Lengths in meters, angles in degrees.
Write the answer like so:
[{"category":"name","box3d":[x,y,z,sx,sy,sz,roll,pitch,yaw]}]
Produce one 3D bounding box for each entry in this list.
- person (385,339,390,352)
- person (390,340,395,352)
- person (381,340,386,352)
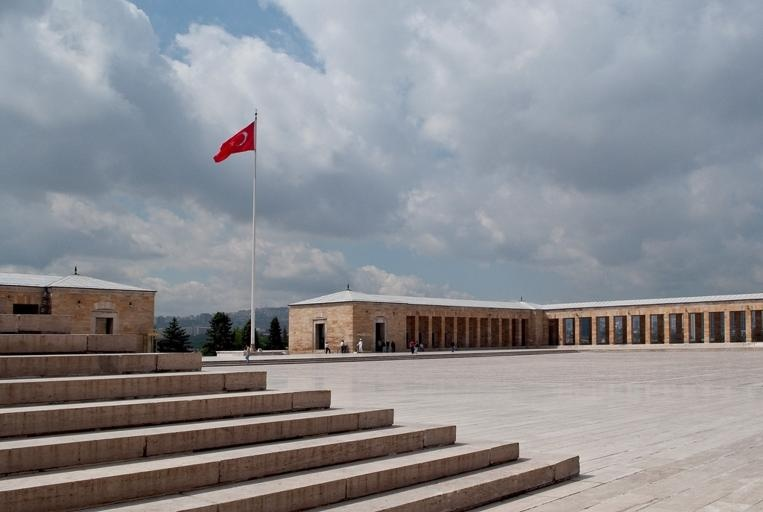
[{"category":"person","box3d":[0.591,8.938,52.905,0.379,1.019,0.688,-7,-11,39]},{"category":"person","box3d":[1.189,9.032,53.438,0.359,1.036,1.133,-2,-9,14]},{"category":"person","box3d":[0.259,8.909,52.743,0.546,1.010,0.614,-1,-9,6]}]
